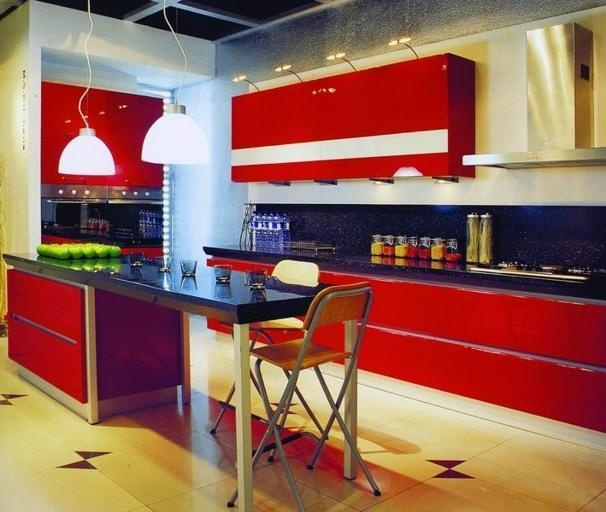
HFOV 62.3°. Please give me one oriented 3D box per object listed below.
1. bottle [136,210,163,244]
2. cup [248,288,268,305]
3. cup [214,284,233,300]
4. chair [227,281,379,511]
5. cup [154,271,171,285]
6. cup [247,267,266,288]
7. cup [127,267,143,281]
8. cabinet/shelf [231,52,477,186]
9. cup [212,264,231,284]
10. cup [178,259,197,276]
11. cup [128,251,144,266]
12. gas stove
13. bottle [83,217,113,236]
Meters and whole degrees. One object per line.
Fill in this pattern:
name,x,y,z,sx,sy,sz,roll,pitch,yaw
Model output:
bottle,-2.016,-0.381,6.562,0.263,0.510,0.399,-7,-9,35
cup,-0.207,0.191,2.406,0.062,0.116,0.063,1,3,0
cup,-0.402,0.177,2.540,0.089,0.068,0.054,5,12,40
chair,0.061,0.652,2.637,0.645,1.078,0.802,-1,5,-5
cup,-0.819,0.133,2.948,0.096,0.103,0.094,1,-6,0
cup,-0.239,0.123,2.681,0.082,0.075,0.097,-3,-5,38
cup,-1.032,0.111,3.107,0.105,0.106,0.190,-1,-1,-17
cabinet/shelf,0.327,-1.213,4.918,2.624,0.949,0.465,6,10,42
cup,-0.449,0.088,2.809,0.094,0.077,0.083,2,-3,-31
cup,-0.702,0.073,3.074,0.100,0.081,0.091,1,0,0
cup,-1.102,0.017,3.381,0.091,0.123,0.122,1,-5,-2
gas stove,1.613,0.105,3.557,0.877,0.058,0.588,3,6,41
bottle,-2.503,-0.362,6.157,0.218,0.210,0.218,1,6,-8
